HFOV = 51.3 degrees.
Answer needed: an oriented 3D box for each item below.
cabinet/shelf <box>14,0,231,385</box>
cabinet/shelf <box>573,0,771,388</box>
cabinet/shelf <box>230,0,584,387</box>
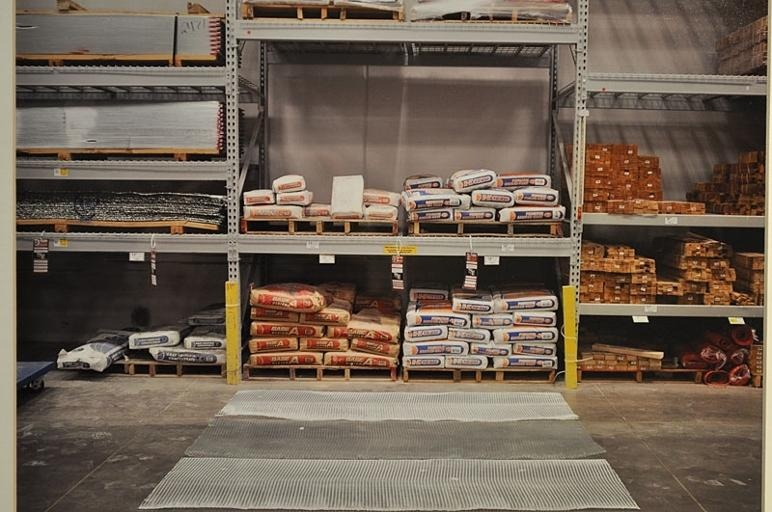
[{"bbox_3d":[-2.836,-0.719,9.170,2.320,4.373,0.591,0,-3,-5],"label":"cabinet/shelf"},{"bbox_3d":[3.424,-1.262,9.590,2.579,3.955,1.536,-1,-3,4],"label":"cabinet/shelf"},{"bbox_3d":[0.292,-0.821,9.591,4.943,5.019,1.619,0,7,-1],"label":"cabinet/shelf"}]
